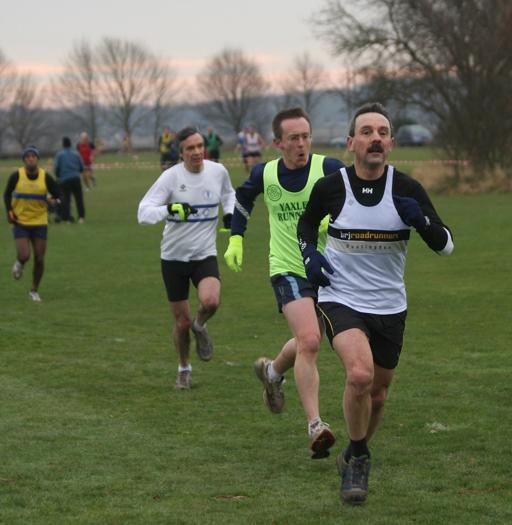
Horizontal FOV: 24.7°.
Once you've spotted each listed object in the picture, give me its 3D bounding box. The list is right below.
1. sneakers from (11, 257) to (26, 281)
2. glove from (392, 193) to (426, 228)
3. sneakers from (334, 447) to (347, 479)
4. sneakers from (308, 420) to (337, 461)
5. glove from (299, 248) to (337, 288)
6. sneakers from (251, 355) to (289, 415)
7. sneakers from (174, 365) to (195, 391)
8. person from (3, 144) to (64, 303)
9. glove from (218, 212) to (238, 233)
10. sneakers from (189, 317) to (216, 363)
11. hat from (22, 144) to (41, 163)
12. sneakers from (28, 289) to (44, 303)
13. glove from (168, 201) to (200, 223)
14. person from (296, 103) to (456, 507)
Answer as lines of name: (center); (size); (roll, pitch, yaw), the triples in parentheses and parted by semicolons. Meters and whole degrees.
sneakers: (-2.857, 0.092, 14.157); (0.091, 0.274, 0.164); (7, -14, -19)
glove: (1.115, -0.354, 8.442); (0.237, 0.226, 0.235); (1, 13, 6)
sneakers: (0.625, 1.492, 8.626); (0.070, 0.215, 0.096); (0, -2, 2)
sneakers: (0.491, 1.335, 8.654); (0.130, 0.327, 0.164); (-1, 54, -14)
glove: (0.460, 0.019, 8.660); (0.241, 0.256, 0.458); (-7, 34, -1)
sneakers: (0.146, 1.039, 9.854); (0.228, 0.509, 0.182); (-15, 2, 27)
sneakers: (-0.639, 1.030, 10.438); (0.137, 0.171, 0.204); (-1, 13, -2)
person: (-2.584, -0.441, 13.494); (0.560, 1.728, 0.885); (0, 12, 4)
glove: (-0.229, -0.360, 10.783); (0.077, 0.223, 0.218); (0, 3, -12)
sneakers: (-0.488, 0.744, 10.881); (0.154, 0.426, 0.180); (-17, 9, 0)
hat: (-2.581, -1.283, 13.617); (0.178, 0.221, 0.238); (-2, 2, -21)
sneakers: (-2.492, 0.386, 13.356); (0.077, 0.099, 0.224); (-14, 23, -33)
glove: (-0.641, -0.447, 10.208); (0.200, 0.088, 0.152); (10, -13, 31)
person: (0.794, 0.230, 8.720); (1.009, 2.761, 0.944); (-10, 16, -39)
